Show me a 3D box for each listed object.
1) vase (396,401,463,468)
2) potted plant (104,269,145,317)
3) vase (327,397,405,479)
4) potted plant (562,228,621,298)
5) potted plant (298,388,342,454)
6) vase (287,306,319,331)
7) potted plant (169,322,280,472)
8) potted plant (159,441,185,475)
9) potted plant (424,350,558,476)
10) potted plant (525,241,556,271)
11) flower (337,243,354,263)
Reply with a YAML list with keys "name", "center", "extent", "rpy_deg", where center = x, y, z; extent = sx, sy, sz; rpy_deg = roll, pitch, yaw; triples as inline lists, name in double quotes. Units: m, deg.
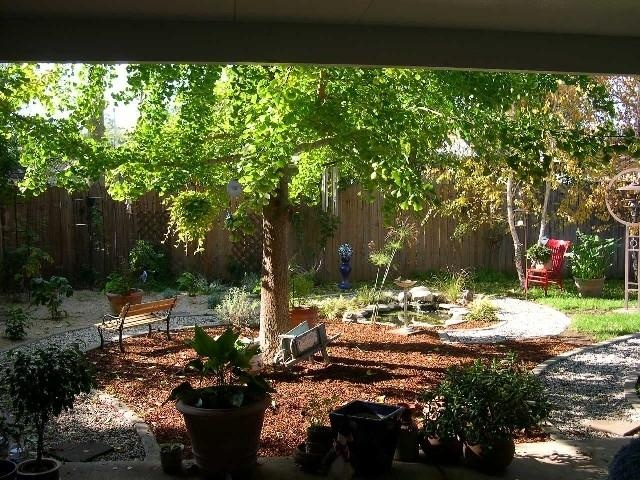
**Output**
- name: "vase"
  center: [0.806, 1.414, 4.163]
  extent: [0.465, 0.355, 0.336]
  rpy_deg: [0, 0, 13]
- name: "potted plant"
  center: [-2.952, 0.806, 8.525]
  extent: [0.574, 0.712, 0.607]
  rpy_deg: [2, -2, 29]
- name: "vase"
  center: [0.305, 1.280, 3.934]
  extent: [0.477, 0.447, 0.406]
  rpy_deg: [-1, -2, -31]
- name: "potted plant"
  center: [5.041, 0.450, 10.583]
  extent: [0.838, 1.199, 0.578]
  rpy_deg: [2, -2, -35]
- name: "potted plant"
  center: [-0.007, 1.382, 4.270]
  extent: [0.331, 0.563, 0.303]
  rpy_deg: [-1, 6, -11]
- name: "vase"
  center: [-0.224, 0.974, 7.155]
  extent: [0.298, 0.248, 0.410]
  rpy_deg: [0, -2, 20]
- name: "potted plant"
  center: [-0.683, 1.048, 4.325]
  extent: [0.828, 1.146, 0.969]
  rpy_deg: [0, 3, 20]
- name: "potted plant"
  center: [-1.046, 1.511, 3.930]
  extent: [0.150, 0.142, 0.172]
  rpy_deg: [-3, -9, 25]
- name: "potted plant"
  center: [1.166, 1.238, 3.990]
  extent: [0.871, 0.737, 0.460]
  rpy_deg: [0, -2, 19]
- name: "potted plant"
  center: [4.158, 0.291, 10.733]
  extent: [0.451, 0.497, 0.499]
  rpy_deg: [-1, -2, 24]
- name: "flower"
  center: [0.535, 0.254, 11.920]
  extent: [0.309, 0.462, 0.336]
  rpy_deg: [1, 9, 10]
